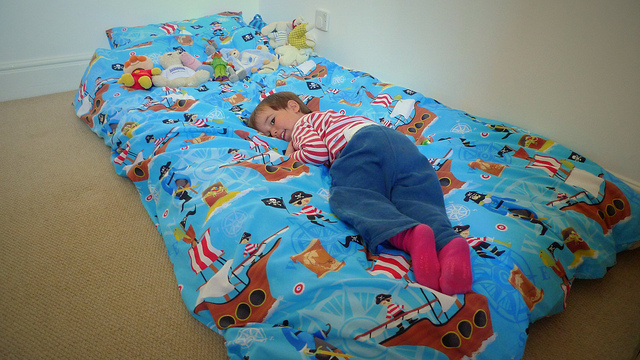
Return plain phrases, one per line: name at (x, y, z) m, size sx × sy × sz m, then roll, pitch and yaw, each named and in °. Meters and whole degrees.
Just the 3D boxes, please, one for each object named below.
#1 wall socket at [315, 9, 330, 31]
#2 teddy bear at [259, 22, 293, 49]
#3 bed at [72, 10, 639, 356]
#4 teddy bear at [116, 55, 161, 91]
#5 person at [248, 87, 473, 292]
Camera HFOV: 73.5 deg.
wall socket at (0.025, -1.402, 3.720) m, size 0.022 × 0.153 × 0.153 m, roll -22°, pitch 42°, yaw -32°
teddy bear at (-0.354, -1.215, 3.606) m, size 0.246 × 0.075 × 0.233 m, roll 15°, pitch 70°, yaw 9°
bed at (-0.201, -0.050, 2.763) m, size 1.989 × 0.703 × 3.021 m, roll -29°, pitch 46°, yaw -32°
teddy bear at (-1.343, -0.795, 3.202) m, size 0.313 × 0.188 × 0.326 m, roll -11°, pitch 71°, yaw -5°
person at (0.221, -0.055, 2.697) m, size 0.804 × 0.650 × 1.981 m, roll 12°, pitch 16°, yaw -43°
